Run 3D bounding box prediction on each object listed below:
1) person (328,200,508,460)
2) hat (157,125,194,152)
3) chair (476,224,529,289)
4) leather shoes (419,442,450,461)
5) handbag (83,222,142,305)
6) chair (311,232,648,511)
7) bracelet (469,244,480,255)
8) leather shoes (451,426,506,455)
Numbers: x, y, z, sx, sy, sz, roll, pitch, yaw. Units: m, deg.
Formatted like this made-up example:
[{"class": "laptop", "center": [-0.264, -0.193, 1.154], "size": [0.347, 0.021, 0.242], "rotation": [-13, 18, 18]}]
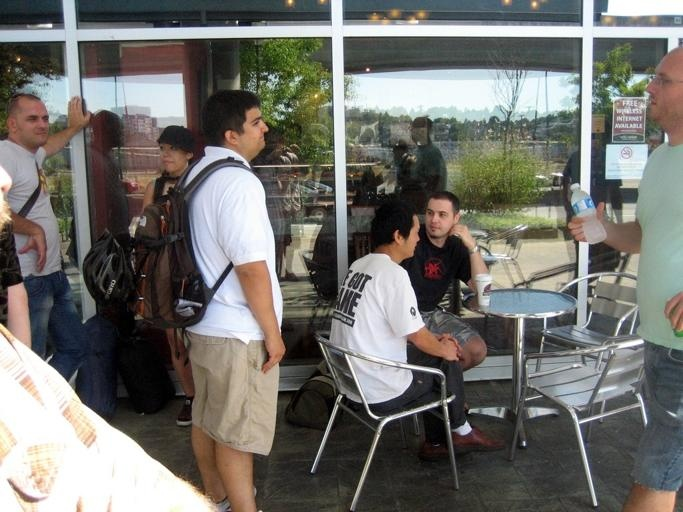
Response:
[{"class": "person", "center": [0.310, 0.475, 2.988], "size": [0.881, 1.523, 0.454], "rotation": [-9, 13, -36]}, {"class": "hat", "center": [-1.122, -0.796, 3.783], "size": [0.158, 0.129, 0.217], "rotation": [10, -5, 40]}, {"class": "chair", "center": [1.245, -0.040, 4.493], "size": [0.402, 0.554, 0.389], "rotation": [1, 10, 1]}, {"class": "leather shoes", "center": [0.536, 1.155, 3.229], "size": [0.180, 0.081, 0.088], "rotation": [-3, 8, -9]}, {"class": "handbag", "center": [-1.234, 0.104, 3.062], "size": [0.360, 0.514, 0.178], "rotation": [3, -7, 1]}, {"class": "chair", "center": [1.123, 0.643, 3.409], "size": [1.453, 0.732, 1.470], "rotation": [-5, 10, -22]}, {"class": "bracelet", "center": [0.873, -0.044, 3.588], "size": [0.090, 0.066, 0.099], "rotation": [4, 8, 14]}, {"class": "leather shoes", "center": [0.793, 1.111, 3.352], "size": [0.369, 0.165, 0.128], "rotation": [-2, 5, -14]}]
